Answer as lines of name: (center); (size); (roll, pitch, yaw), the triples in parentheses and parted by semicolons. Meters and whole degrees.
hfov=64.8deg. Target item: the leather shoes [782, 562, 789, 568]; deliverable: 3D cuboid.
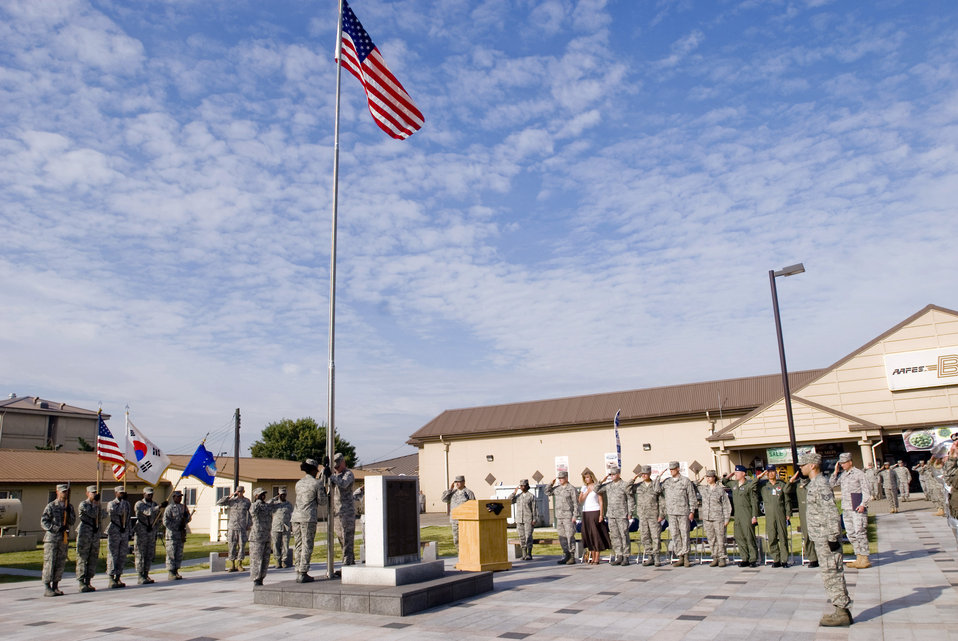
leather shoes: (8.201, 6.578, 20.222); (0.261, 0.129, 0.133); (2, -16, -24)

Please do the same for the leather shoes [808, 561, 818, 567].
leather shoes: (8.829, 6.500, 20.044); (0.150, 0.074, 0.212); (-5, -10, 35)

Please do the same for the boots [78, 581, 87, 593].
boots: (-10.832, 7.322, 20.741); (0.316, 0.275, 0.195); (-3, -18, 0)

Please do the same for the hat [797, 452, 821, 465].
hat: (7.161, 2.989, 16.317); (0.547, 0.190, 0.374); (1, -11, -19)

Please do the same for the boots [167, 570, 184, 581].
boots: (-8.922, 7.597, 22.391); (0.480, 0.417, 0.255); (-5, -14, 31)

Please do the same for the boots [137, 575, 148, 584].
boots: (-9.626, 7.516, 21.754); (0.332, 0.184, 0.309); (4, -18, -20)

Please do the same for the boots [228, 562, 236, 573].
boots: (-7.737, 7.802, 23.726); (0.247, 0.223, 0.598); (3, -17, -19)

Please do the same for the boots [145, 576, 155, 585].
boots: (-9.522, 7.578, 21.812); (0.108, 0.194, 0.307); (18, -29, -35)

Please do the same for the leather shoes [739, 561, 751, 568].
leather shoes: (7.171, 6.656, 20.538); (0.250, 0.146, 0.386); (4, -18, -21)

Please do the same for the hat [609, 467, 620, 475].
hat: (3.976, 4.461, 22.177); (0.286, 0.157, 0.279); (-1, -2, 27)

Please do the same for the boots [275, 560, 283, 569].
boots: (-6.273, 7.684, 23.714); (0.311, 0.272, 0.222); (-13, -17, 41)

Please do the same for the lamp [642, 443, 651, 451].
lamp: (10.759, 8.184, 48.502); (0.532, 0.357, 0.418); (0, -15, 3)

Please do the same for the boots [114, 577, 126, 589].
boots: (-10.131, 7.433, 21.243); (0.345, 0.298, 0.167); (-23, -30, 40)

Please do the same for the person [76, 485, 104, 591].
person: (-10.940, 6.112, 21.152); (0.604, 2.848, 1.452); (6, -20, -26)

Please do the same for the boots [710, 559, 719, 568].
boots: (6.479, 6.705, 20.749); (0.262, 0.169, 0.312); (-7, -17, 14)

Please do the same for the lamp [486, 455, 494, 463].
lamp: (0.733, 10.030, 54.287); (0.604, 0.508, 0.315); (-1, 3, 9)

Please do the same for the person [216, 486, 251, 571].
person: (-7.752, 6.636, 24.067); (0.809, 2.651, 1.490); (3, -19, -19)

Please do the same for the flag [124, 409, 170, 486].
flag: (-12.846, 5.171, 29.180); (1.465, 2.431, 3.670); (4, -18, -22)

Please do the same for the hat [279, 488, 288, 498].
hat: (-6.079, 5.372, 23.362); (0.140, 0.360, 0.308); (-1, -18, -5)

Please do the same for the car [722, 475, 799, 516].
car: (7.831, 4.846, 20.909); (1.977, 0.730, 1.166); (0, -10, 4)

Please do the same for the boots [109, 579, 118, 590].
boots: (-10.234, 7.402, 21.117); (0.356, 0.221, 0.152); (-9, -19, 19)

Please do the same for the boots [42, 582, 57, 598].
boots: (-11.430, 7.194, 20.176); (0.419, 0.408, 0.389); (-1, -18, -7)

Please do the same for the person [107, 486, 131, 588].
person: (-10.390, 6.224, 21.731); (0.635, 2.815, 0.893); (5, -20, -23)

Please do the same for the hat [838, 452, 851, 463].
hat: (9.550, 3.593, 19.786); (0.323, 0.193, 0.404); (-9, -20, 27)

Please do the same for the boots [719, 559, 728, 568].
boots: (6.716, 6.687, 20.791); (0.167, 0.224, 0.541); (-12, -19, 27)
